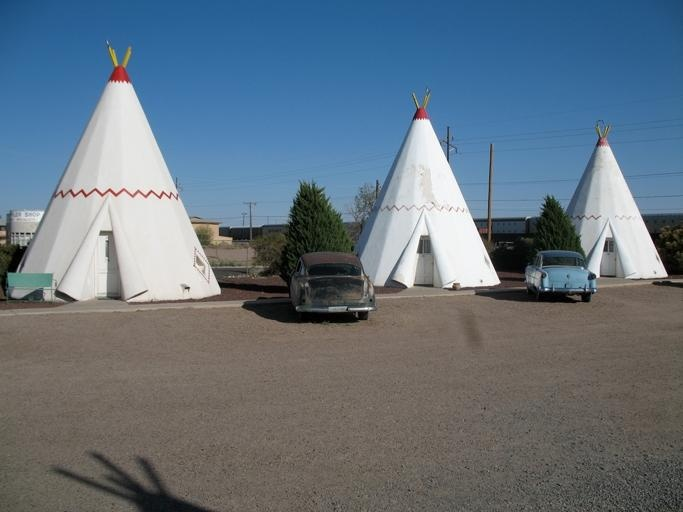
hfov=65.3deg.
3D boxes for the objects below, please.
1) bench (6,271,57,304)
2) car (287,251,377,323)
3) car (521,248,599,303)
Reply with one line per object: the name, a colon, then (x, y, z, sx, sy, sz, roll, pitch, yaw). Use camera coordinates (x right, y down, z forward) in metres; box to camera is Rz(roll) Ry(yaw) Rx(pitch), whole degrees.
bench: (-8.167, 0.818, 13.832, 1.412, 0.760, 0.507, 1, 5, 11)
car: (-0.206, 0.702, 11.912, 1.750, 1.375, 2.027, 0, 5, -3)
car: (6.318, 0.603, 15.377, 1.426, 1.389, 1.741, 1, 5, 7)
